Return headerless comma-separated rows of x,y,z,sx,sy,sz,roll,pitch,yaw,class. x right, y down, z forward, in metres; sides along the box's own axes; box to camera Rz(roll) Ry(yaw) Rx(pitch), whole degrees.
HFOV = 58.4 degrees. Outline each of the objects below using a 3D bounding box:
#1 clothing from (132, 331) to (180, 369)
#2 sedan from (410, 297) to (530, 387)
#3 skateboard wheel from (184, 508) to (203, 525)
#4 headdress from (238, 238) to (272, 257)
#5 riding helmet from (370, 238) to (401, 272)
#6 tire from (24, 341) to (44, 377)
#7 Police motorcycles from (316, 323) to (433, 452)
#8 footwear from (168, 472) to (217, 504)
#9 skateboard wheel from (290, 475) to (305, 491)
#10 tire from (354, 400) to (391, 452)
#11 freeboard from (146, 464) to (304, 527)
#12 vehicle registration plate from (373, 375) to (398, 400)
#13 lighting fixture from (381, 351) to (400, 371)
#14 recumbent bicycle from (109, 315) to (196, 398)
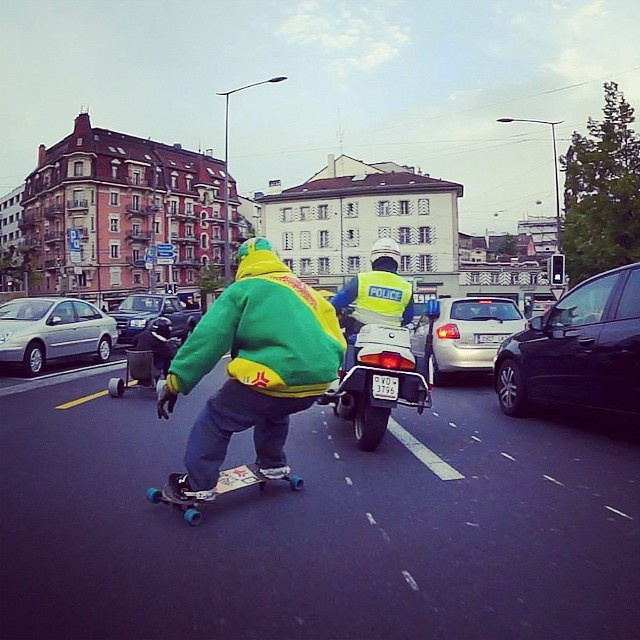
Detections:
-2.434,0.403,8.504,0.610,0.513,0.758,19,18,37,clothing
2.828,0.167,10.756,1.678,1.408,3.280,-1,6,6,sedan
-0.745,1.137,3.357,0.086,0.084,0.107,5,-8,-41,skateboard wheel
-0.398,-0.444,3.539,0.170,0.150,0.126,-9,-25,9,headdress
0.655,-0.652,5.765,0.295,0.340,0.359,2,6,7,riding helmet
-5.401,0.722,10.784,0.268,0.627,0.611,0,1,-14,tire
0.488,0.534,6.129,0.998,1.367,2.461,8,-3,-5,Police motorcycles
-0.773,0.974,3.409,0.245,0.095,0.158,9,5,22,footwear
-0.173,1.127,4.024,0.083,0.085,0.103,28,-15,-32,skateboard wheel
0.467,0.947,5.168,0.161,0.466,0.481,4,-6,-9,tire
-0.598,1.060,3.824,0.981,0.158,0.369,1,4,-44,freeboard
0.555,0.581,4.896,0.212,0.171,0.030,2,-10,0,vehicle registration plate
0.605,0.347,4.913,0.153,0.145,0.144,6,4,1,lighting fixture
-2.742,0.523,8.801,1.025,1.192,1.349,0,9,-12,recumbent bicycle
